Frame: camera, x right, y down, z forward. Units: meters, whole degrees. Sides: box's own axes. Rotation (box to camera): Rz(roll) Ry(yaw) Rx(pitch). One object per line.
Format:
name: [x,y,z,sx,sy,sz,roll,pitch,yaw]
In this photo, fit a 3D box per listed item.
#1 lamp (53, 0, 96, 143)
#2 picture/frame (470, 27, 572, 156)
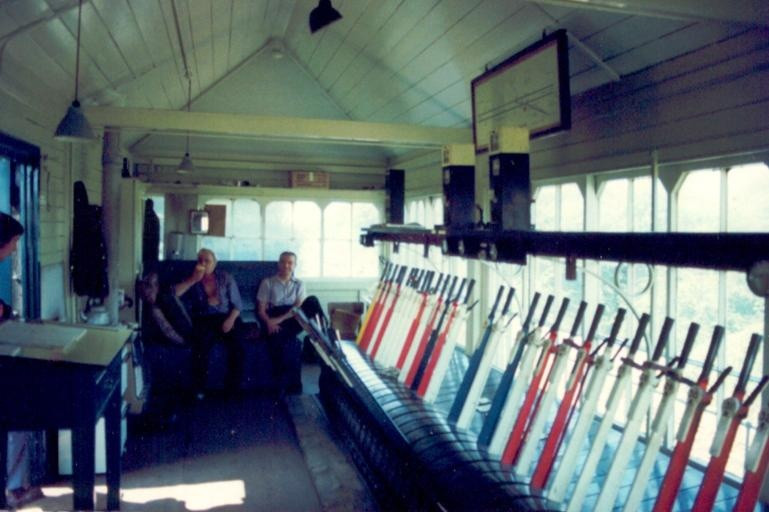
lamp: [-2.547,-1.459,5.070,0.269,1.039,1.010,-5,14,-26]
picture/frame: [1.103,-1.314,5.371,0.103,0.756,1.088,-3,-2,-32]
